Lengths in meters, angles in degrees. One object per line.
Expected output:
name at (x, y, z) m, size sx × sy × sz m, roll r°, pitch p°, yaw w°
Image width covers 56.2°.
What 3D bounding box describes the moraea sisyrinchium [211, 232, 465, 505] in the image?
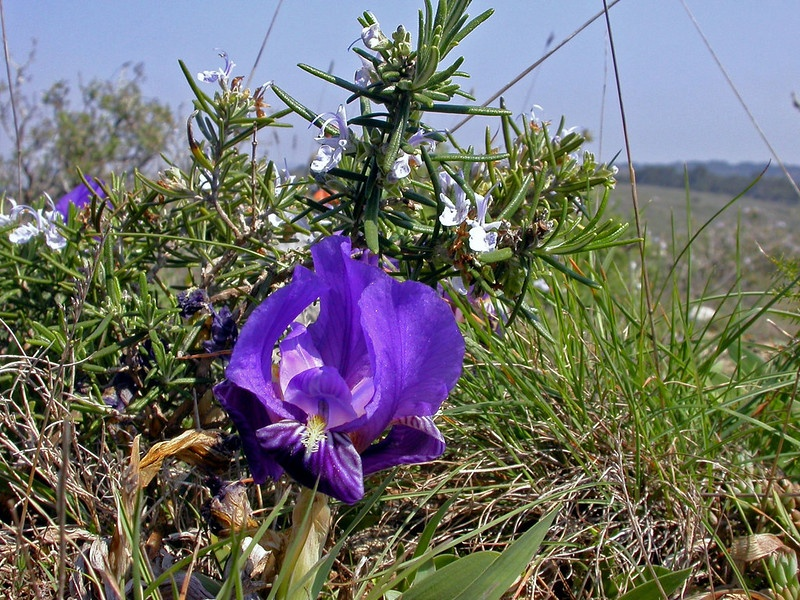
moraea sisyrinchium at (-0.140, 0.317, 1.635) m, size 0.438 × 0.658 × 0.506 m, roll 5°, pitch 0°, yaw -12°
